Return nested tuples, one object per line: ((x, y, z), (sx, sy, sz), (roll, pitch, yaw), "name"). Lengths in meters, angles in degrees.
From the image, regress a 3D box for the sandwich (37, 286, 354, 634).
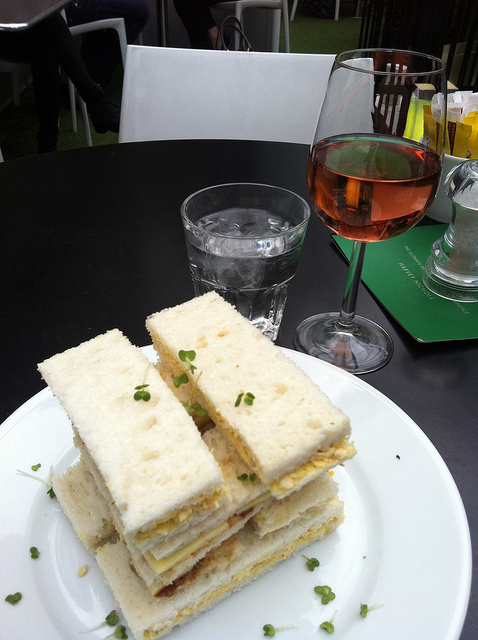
((-0.056, 0.139, 0.591), (0.315, 0.204, 0.323), (-20, 41, -30), "sandwich")

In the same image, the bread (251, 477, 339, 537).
((0.067, 0.210, 0.559), (0.080, 0.023, 0.081), (-19, 16, -21), "bread")

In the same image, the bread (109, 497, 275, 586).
((-0.050, 0.187, 0.497), (0.103, 0.027, 0.112), (-28, 29, -22), "bread")

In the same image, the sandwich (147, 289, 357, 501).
((0.009, 0.084, 0.585), (0.123, 0.057, 0.277), (-17, 34, -21), "sandwich")

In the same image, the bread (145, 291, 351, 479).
((0.006, 0.074, 0.587), (0.123, 0.056, 0.293), (-16, 37, -26), "bread")

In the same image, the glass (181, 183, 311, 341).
((0.006, -0.108, 0.879), (0.232, 0.283, 0.254), (3, 40, -2), "glass")

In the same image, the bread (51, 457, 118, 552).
((-0.198, 0.218, 0.592), (0.088, 0.024, 0.085), (55, 34, 8), "bread")

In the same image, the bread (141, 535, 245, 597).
((-0.044, 0.263, 0.521), (0.059, 0.017, 0.062), (-26, 21, -22), "bread")

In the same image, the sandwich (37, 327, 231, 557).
((-0.115, 0.115, 0.545), (0.117, 0.059, 0.264), (-26, 44, -23), "sandwich")

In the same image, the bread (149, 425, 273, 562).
((-0.021, 0.175, 0.507), (0.099, 0.025, 0.094), (-29, 37, -6), "bread")

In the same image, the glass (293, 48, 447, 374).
((0.187, -0.154, 0.727), (0.188, 0.406, 0.254), (7, 33, 6), "glass")

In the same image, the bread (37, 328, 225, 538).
((-0.101, 0.114, 0.508), (0.133, 0.055, 0.258), (-19, 48, -19), "bread")

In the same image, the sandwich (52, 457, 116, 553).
((-0.203, 0.228, 0.588), (0.093, 0.025, 0.087), (57, 28, 6), "sandwich")
